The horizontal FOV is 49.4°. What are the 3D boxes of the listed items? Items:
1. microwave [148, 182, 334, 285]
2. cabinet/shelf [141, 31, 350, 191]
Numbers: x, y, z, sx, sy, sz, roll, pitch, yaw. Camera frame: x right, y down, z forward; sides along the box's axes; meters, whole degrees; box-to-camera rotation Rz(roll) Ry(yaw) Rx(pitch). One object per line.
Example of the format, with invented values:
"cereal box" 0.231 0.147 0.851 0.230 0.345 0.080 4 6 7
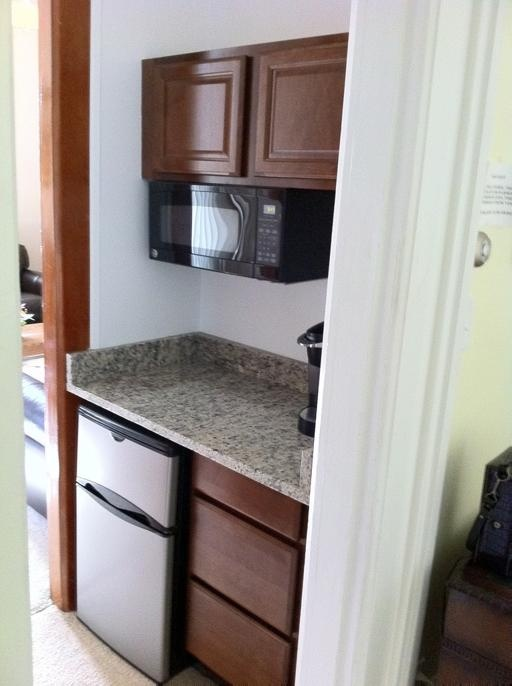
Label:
"microwave" -0.092 -0.384 1.849 0.658 0.281 0.268 12 15 28
"cabinet/shelf" 0.034 -0.693 1.766 0.787 0.385 0.286 8 13 24
